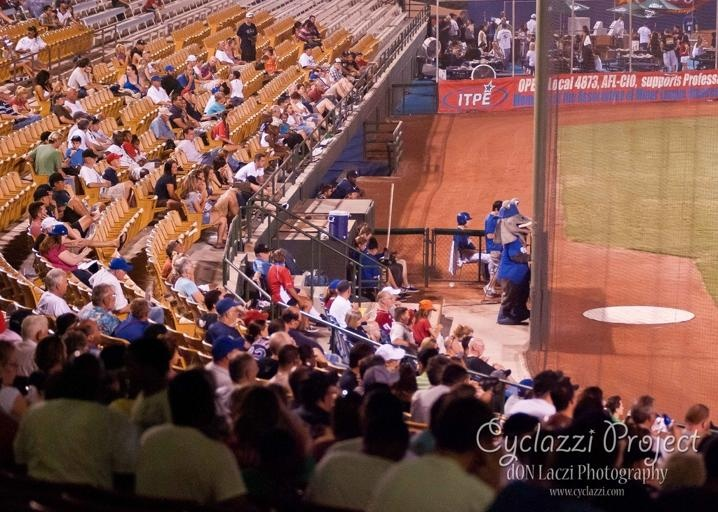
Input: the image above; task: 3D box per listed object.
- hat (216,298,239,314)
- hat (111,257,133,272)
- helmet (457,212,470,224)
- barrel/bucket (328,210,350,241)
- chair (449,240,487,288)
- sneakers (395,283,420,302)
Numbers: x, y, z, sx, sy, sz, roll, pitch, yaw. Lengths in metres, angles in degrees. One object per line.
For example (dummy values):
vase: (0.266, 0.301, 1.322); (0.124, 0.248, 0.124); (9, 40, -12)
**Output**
hat: (-1.580, 0.600, 11.856); (0.239, 0.126, 0.164); (-28, 15, -22)
hat: (-3.237, 0.129, 13.393); (0.312, 0.172, 0.201); (10, 24, -33)
helmet: (2.434, -0.912, 22.874); (0.371, 0.291, 0.257); (-2, 4, -31)
barrel/bucket: (-0.414, -0.617, 19.240); (0.476, 0.590, 0.512); (0, 8, 0)
chair: (2.482, 0.153, 22.133); (0.849, 1.026, 0.833); (0, 10, 2)
sneakers: (1.076, 0.768, 21.133); (0.642, 0.254, 0.217); (-5, 19, -19)
